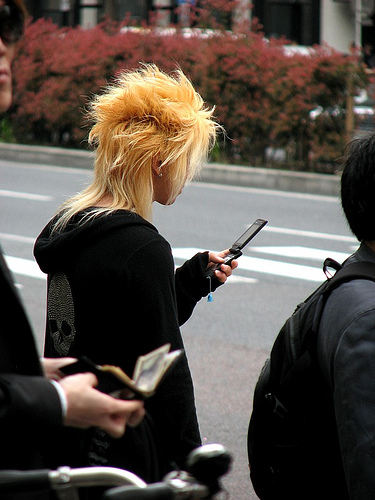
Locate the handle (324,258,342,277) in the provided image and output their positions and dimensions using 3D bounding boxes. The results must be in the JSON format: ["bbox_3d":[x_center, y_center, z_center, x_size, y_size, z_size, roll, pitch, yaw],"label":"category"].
[{"bbox_3d":[0.377,0.041,1.801,0.020,0.034,0.026,-47,33,-9],"label":"handle"}]

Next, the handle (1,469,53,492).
[{"bbox_3d":[-0.276,0.383,1.199,0.156,0.028,0.039,4,-6,-6],"label":"handle"}]

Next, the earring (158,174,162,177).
[{"bbox_3d":[-0.077,-0.216,2.001,0.011,0.006,0.007,-5,15,-22],"label":"earring"}]

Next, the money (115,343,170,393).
[{"bbox_3d":[-0.069,0.208,1.314,0.077,0.081,0.090,24,7,19],"label":"money"}]
